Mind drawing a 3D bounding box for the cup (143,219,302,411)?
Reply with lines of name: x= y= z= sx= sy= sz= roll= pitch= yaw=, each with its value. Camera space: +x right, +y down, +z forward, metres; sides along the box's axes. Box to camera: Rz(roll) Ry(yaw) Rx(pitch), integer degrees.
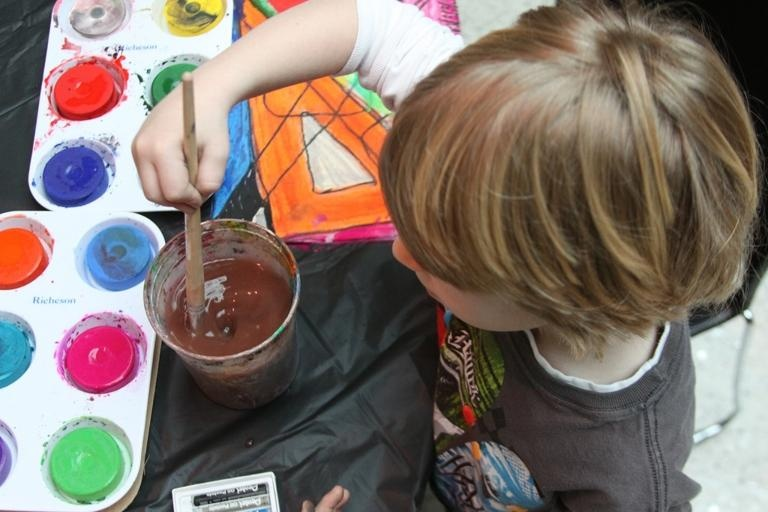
cup: x=-0.284 y=0.125 z=1.448 sx=0.265 sy=0.285 sz=0.275 roll=1 pitch=58 yaw=-1
